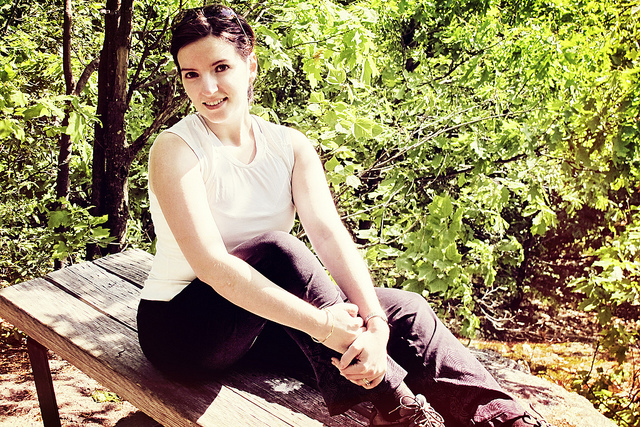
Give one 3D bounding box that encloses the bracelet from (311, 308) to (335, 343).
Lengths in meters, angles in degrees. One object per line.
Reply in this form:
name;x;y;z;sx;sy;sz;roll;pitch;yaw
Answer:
bracelet;-0.007;0.586;2.746;0.038;0.152;0.135;15;-4;-23
